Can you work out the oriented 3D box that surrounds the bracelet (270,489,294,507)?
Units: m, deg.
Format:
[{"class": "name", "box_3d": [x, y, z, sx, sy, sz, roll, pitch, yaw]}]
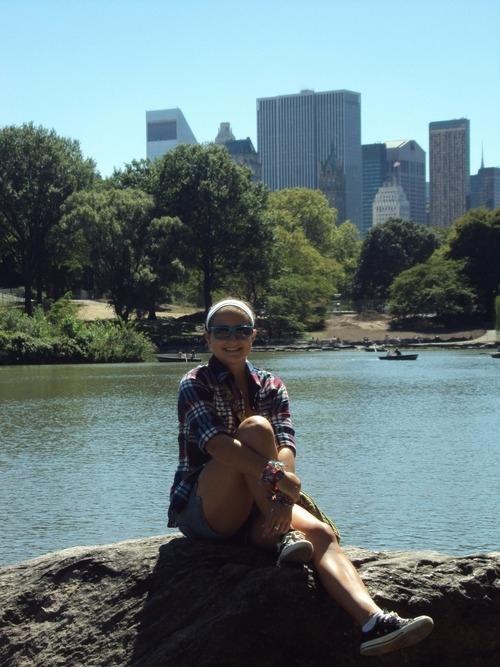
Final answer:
[{"class": "bracelet", "box_3d": [0.165, 0.882, 5.595, 0.084, 0.033, 0.081, 36, 3, 11]}]

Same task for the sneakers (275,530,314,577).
[{"class": "sneakers", "box_3d": [0.230, 1.142, 5.470, 0.187, 0.194, 0.253, 0, 0, 0]}]

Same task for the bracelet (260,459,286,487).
[{"class": "bracelet", "box_3d": [0.122, 0.756, 5.640, 0.102, 0.146, 0.080, 4, 14, -40]}]

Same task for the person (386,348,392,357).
[{"class": "person", "box_3d": [7.084, 0.984, 53.495, 0.221, 0.444, 0.760, 0, 11, 7]}]

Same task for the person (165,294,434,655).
[{"class": "person", "box_3d": [0.129, 0.603, 5.683, 0.680, 1.608, 1.579, -1, 1, -31]}]

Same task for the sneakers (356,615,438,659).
[{"class": "sneakers", "box_3d": [0.681, 1.426, 4.906, 0.330, 0.217, 0.143, 0, 1, 9]}]
